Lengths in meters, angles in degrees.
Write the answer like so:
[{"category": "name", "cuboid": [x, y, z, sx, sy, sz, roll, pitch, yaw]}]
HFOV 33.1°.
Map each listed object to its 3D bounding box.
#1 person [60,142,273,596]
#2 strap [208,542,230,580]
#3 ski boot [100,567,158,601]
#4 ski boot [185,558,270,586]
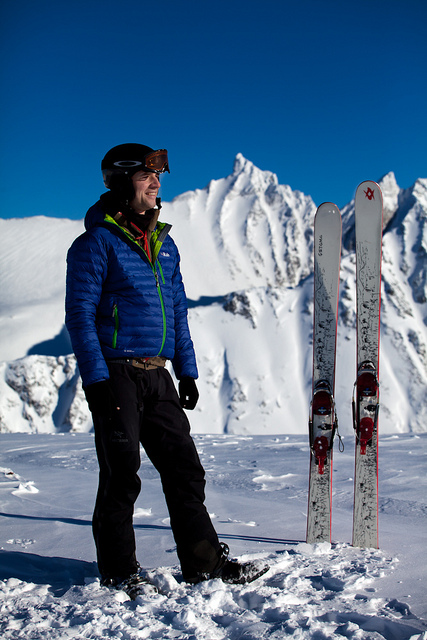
[{"category": "person", "cuboid": [-0.317, 0.185, 3.452, 0.810, 2.100, 0.523, 0, -3, -32]}, {"category": "strap", "cuboid": [0.032, 1.154, 3.395, 0.048, 0.127, 0.094, 29, -12, -19]}, {"category": "ski boot", "cuboid": [-0.378, 1.177, 3.172, 0.207, 0.075, 0.378, -4, 3, -28]}, {"category": "ski boot", "cuboid": [0.090, 1.180, 3.452, 0.390, 0.147, 0.191, 0, -2, -20]}]
